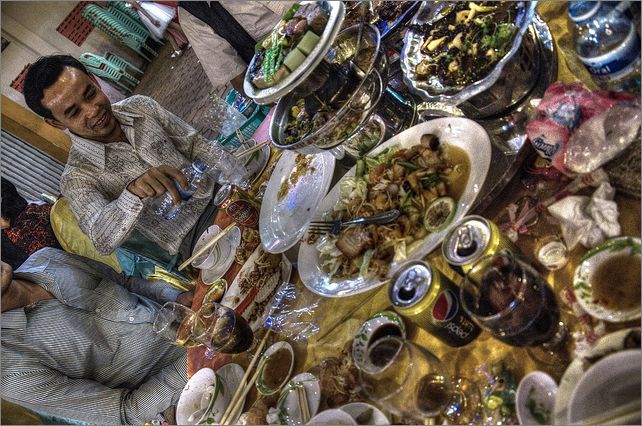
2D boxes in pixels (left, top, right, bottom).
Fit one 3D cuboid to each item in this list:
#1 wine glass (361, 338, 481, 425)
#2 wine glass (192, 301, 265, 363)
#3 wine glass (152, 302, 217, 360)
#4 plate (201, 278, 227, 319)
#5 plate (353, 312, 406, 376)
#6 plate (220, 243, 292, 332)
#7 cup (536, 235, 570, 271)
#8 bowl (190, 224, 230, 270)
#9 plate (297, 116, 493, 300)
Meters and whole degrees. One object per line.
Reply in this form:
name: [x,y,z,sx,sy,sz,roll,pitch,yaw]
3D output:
wine glass: [0.377,0.687,1.955,0.334,0.465,0.366,-12,47,45]
wine glass: [-0.544,0.651,2.694,0.342,0.354,0.264,-32,30,9]
wine glass: [-0.881,0.714,2.878,0.288,0.450,0.300,-18,46,50]
plate: [-0.677,0.548,2.982,0.147,0.037,0.190,-25,39,50]
plate: [0.304,0.619,2.239,0.237,0.094,0.247,30,92,51]
plate: [-0.393,0.454,2.732,0.346,0.087,0.501,36,99,40]
cup: [1.045,0.199,2.069,0.128,0.137,0.134,-14,65,31]
bowl: [-0.764,0.235,3.325,0.305,0.176,0.371,-41,34,19]
plate: [0.390,-0.011,2.243,0.967,0.168,0.824,-46,24,-2]
